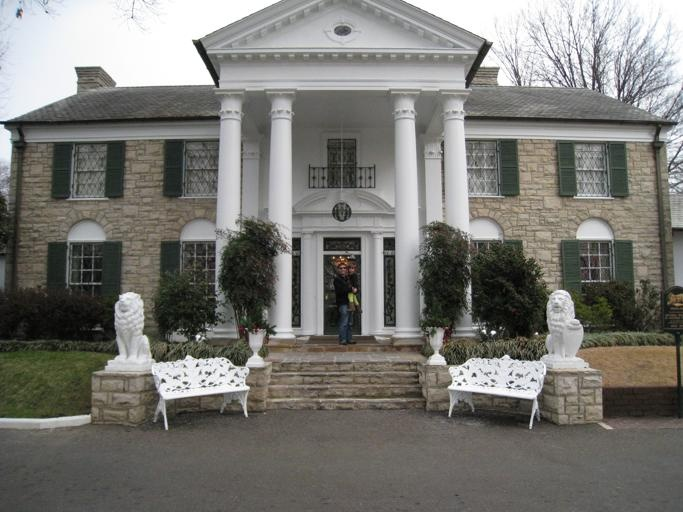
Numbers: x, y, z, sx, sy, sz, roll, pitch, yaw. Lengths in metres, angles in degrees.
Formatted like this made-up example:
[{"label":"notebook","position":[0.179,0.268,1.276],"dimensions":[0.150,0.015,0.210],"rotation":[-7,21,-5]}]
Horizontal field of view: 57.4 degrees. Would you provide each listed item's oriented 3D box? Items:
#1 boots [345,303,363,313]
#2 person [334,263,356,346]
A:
[{"label":"boots","position":[0.310,1.434,17.477],"dimensions":[0.276,0.333,0.327],"rotation":[-14,-23,38]},{"label":"person","position":[0.097,1.373,17.283],"dimensions":[0.541,2.053,0.800],"rotation":[0,8,-1]}]
